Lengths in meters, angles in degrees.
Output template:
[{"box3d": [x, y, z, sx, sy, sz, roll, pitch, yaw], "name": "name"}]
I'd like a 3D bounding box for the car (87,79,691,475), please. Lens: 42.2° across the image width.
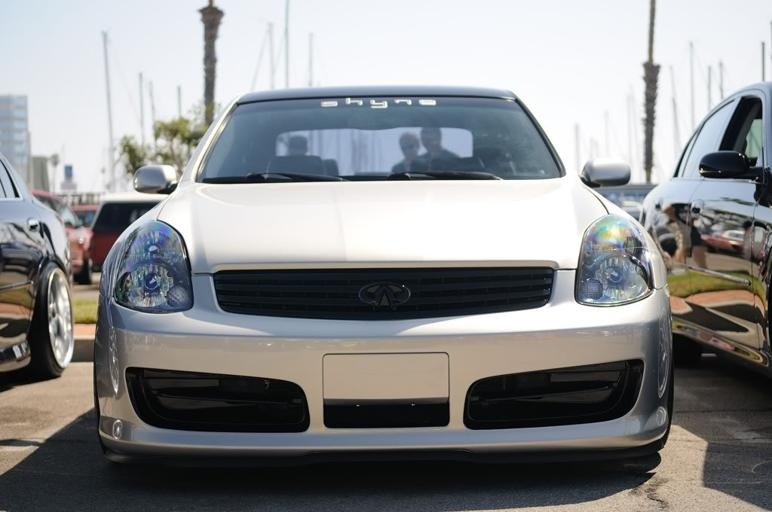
[{"box3d": [0.006, -0.018, 5.887, 3.136, 1.944, 1.928, 0, 9, 1], "name": "car"}]
